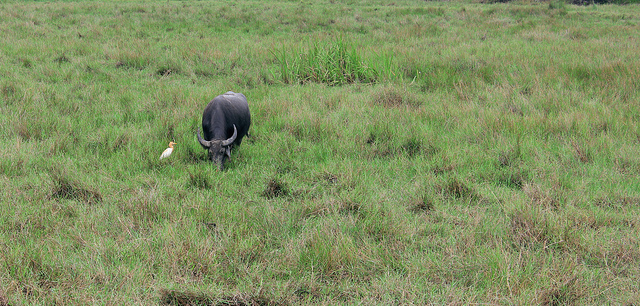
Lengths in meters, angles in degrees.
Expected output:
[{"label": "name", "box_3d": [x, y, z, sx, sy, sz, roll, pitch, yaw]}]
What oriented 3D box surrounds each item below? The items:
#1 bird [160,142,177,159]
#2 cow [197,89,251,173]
[{"label": "bird", "box_3d": [-5.119, -0.065, 21.442, 0.287, 0.439, 0.623, 7, 21, 26]}, {"label": "cow", "box_3d": [-3.369, -1.013, 22.476, 1.542, 2.006, 3.907, 5, 37, 4]}]
